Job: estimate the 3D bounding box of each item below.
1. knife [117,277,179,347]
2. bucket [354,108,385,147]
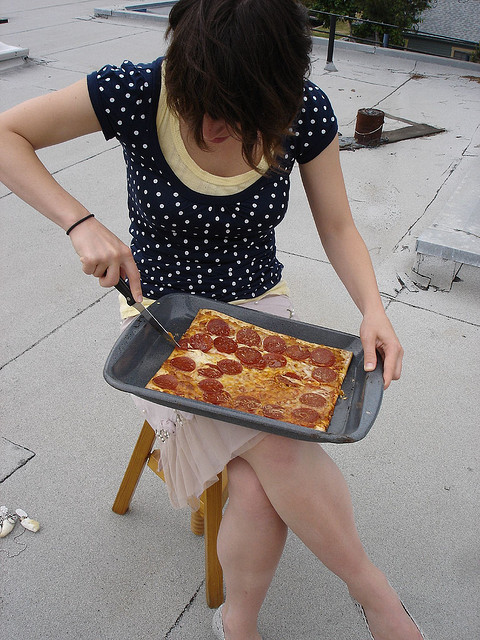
[{"bbox_3d":[-0.184,-0.024,1.109,0.089,0.197,0.067,-15,45,-10],"label":"knife"},{"bbox_3d":[0.855,-1.271,3.695,0.180,0.248,0.142,4,44,9],"label":"bucket"}]
